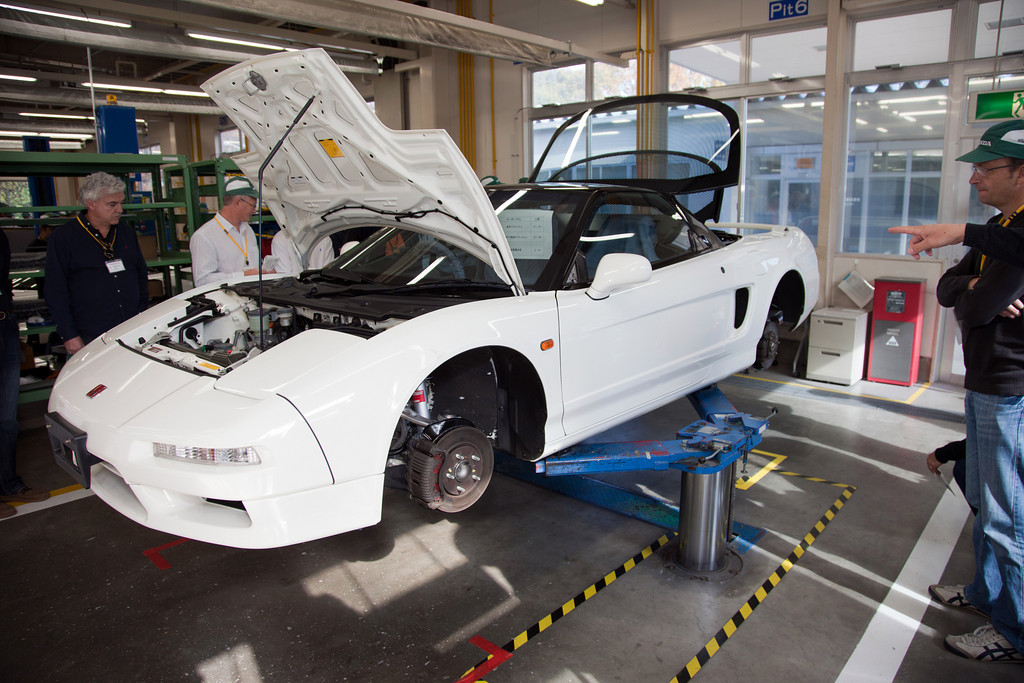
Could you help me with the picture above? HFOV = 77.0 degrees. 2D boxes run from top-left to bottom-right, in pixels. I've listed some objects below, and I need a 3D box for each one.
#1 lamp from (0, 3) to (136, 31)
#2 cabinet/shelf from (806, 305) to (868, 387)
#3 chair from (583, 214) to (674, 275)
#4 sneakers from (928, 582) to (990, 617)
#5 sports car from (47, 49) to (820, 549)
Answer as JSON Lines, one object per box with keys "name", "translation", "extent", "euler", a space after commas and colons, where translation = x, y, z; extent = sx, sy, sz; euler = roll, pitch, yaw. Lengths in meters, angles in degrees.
{"name": "lamp", "translation": [-5.597, -4.070, 8.078], "extent": [0.438, 0.108, 1.492], "euler": [12, 21, 37]}
{"name": "cabinet/shelf", "translation": [3.628, 0.050, 7.077], "extent": [0.548, 0.714, 0.475], "euler": [-10, 12, -36]}
{"name": "chair", "translation": [0.861, -0.647, 4.319], "extent": [0.618, 0.445, 0.210], "euler": [-7, 38, -40]}
{"name": "sneakers", "translation": [2.579, 1.468, 3.724], "extent": [0.285, 0.116, 0.107], "euler": [15, 16, 33]}
{"name": "sports car", "translation": [-0.221, -0.333, 4.397], "extent": [4.827, 1.948, 2.612], "euler": [-11, 11, -34]}
